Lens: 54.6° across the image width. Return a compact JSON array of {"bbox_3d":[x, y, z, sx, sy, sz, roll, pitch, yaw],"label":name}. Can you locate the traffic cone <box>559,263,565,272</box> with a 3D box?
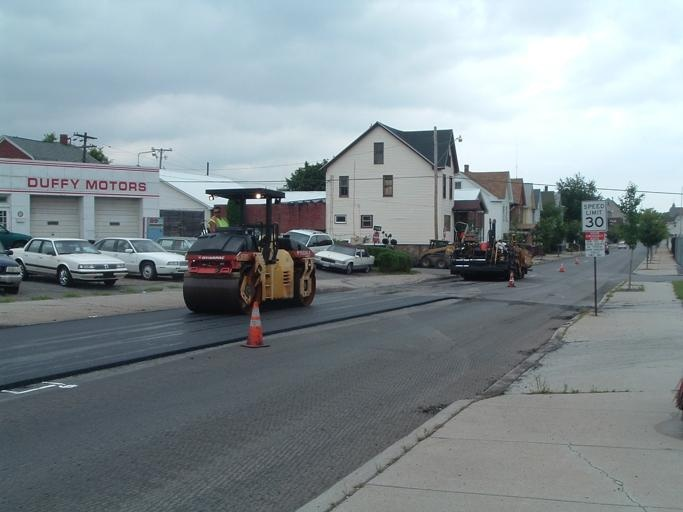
[{"bbox_3d":[15.744,0.809,47.716,0.488,0.564,0.502,-3,-2,5],"label":"traffic cone"}]

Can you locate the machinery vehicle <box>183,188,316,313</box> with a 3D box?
[{"bbox_3d":[-2.420,-0.154,18.448,2.187,3.262,4.436,0,2,23],"label":"machinery vehicle"}]

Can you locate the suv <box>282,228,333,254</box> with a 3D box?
[{"bbox_3d":[-1.585,-0.915,36.383,2.201,1.141,1.305,8,-1,-43],"label":"suv"}]

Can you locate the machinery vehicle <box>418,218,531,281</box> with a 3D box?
[{"bbox_3d":[8.464,-0.176,36.710,3.304,2.630,5.659,1,3,30],"label":"machinery vehicle"}]

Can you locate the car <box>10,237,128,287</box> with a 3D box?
[{"bbox_3d":[-9.701,0.033,23.475,3.831,1.306,1.821,2,1,38],"label":"car"}]

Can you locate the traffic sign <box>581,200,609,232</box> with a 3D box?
[{"bbox_3d":[6.517,-1.046,17.176,0.598,0.813,0.720,1,2,22],"label":"traffic sign"}]
